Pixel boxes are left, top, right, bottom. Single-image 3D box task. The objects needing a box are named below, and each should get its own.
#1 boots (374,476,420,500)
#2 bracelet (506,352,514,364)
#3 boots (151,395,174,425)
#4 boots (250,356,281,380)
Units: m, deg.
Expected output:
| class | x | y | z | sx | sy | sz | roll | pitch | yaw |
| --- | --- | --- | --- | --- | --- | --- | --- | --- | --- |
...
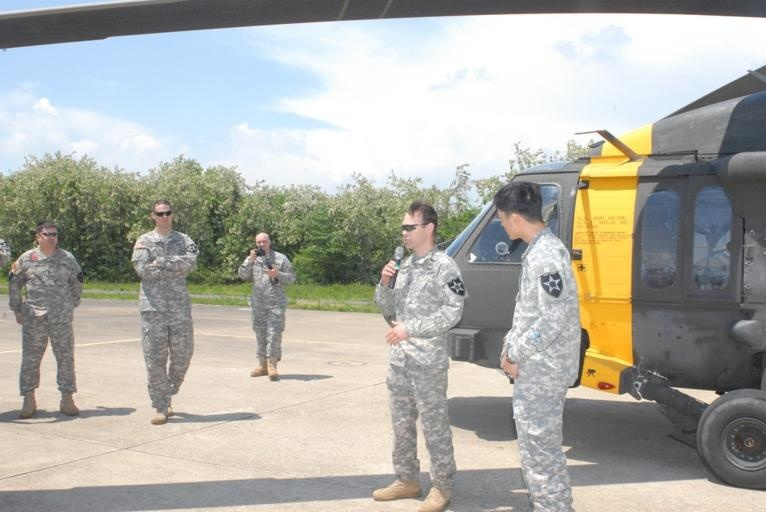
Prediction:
| class | x | y | z | sx | sy | sz | roll | pitch | yaw |
| --- | --- | --- | --- | --- | --- | --- | --- | --- | --- |
| boots | 0.174 | 2.402 | 7.746 | 0.538 | 0.191 | 0.188 | 0 | -2 | -4 |
| bracelet | 1.137 | 0.928 | 6.758 | 0.019 | 0.073 | 0.077 | -39 | -6 | 2 |
| boots | -2.857 | 2.058 | 9.807 | 0.153 | 0.274 | 0.428 | 3 | 12 | -5 |
| boots | -1.937 | 1.868 | 12.423 | 0.666 | 0.392 | 0.221 | 9 | -14 | -14 |
